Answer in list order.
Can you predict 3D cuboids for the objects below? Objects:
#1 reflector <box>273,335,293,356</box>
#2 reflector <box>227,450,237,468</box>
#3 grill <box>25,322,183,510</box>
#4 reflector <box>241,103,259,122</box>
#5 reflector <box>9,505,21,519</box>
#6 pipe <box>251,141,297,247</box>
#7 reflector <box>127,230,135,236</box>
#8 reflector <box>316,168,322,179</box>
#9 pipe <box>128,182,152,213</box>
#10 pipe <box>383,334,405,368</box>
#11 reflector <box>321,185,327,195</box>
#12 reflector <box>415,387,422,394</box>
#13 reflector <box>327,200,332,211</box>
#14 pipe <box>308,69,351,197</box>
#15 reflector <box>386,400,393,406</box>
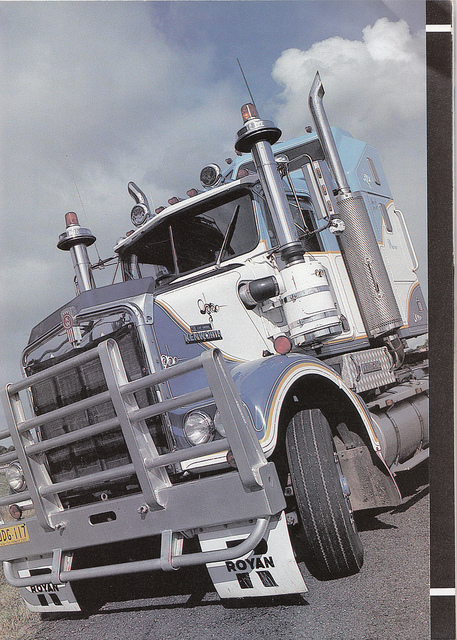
[{"bbox_3d":[0.411,0.174,4.263,0.105,0.142,0.168,-19,2,43],"label":"reflector"},{"bbox_3d":[0.019,0.717,3.012,0.034,0.076,0.087,-24,-43,14],"label":"reflector"},{"bbox_3d":[-0.858,0.669,3.882,0.463,1.295,1.369,-24,4,-42],"label":"grill"},{"bbox_3d":[0.151,-1.553,4.408,0.121,0.137,0.184,-20,2,8],"label":"reflector"},{"bbox_3d":[-1.492,1.335,4.096,0.038,0.103,0.087,-24,4,-43],"label":"reflector"},{"bbox_3d":[0.342,-0.910,4.438,0.165,0.840,0.178,-22,12,-21],"label":"pipe"},{"bbox_3d":[-0.912,-0.805,5.471,0.061,0.014,0.042,-28,4,4],"label":"reflector"},{"bbox_3d":[0.757,-1.215,4.902,0.030,0.105,0.034,-23,-22,15],"label":"reflector"},{"bbox_3d":[-0.843,-1.148,5.486,0.102,0.341,0.542,-23,2,-5],"label":"pipe"},{"bbox_3d":[1.536,0.287,5.396,0.146,0.312,0.194,-21,2,12],"label":"pipe"},{"bbox_3d":[0.788,-1.069,4.841,0.025,0.091,0.027,-14,-13,-3],"label":"reflector"},{"bbox_3d":[1.904,0.704,5.869,0.060,0.052,0.016,-7,-3,-35],"label":"reflector"},{"bbox_3d":[0.823,-0.926,4.797,0.030,0.089,0.057,-21,2,22],"label":"reflector"},{"bbox_3d":[0.843,-1.551,4.963,0.231,1.065,0.722,-22,2,14],"label":"pipe"},{"bbox_3d":[1.442,0.739,5.242,0.056,0.046,0.013,-1,-5,-20],"label":"reflector"}]
